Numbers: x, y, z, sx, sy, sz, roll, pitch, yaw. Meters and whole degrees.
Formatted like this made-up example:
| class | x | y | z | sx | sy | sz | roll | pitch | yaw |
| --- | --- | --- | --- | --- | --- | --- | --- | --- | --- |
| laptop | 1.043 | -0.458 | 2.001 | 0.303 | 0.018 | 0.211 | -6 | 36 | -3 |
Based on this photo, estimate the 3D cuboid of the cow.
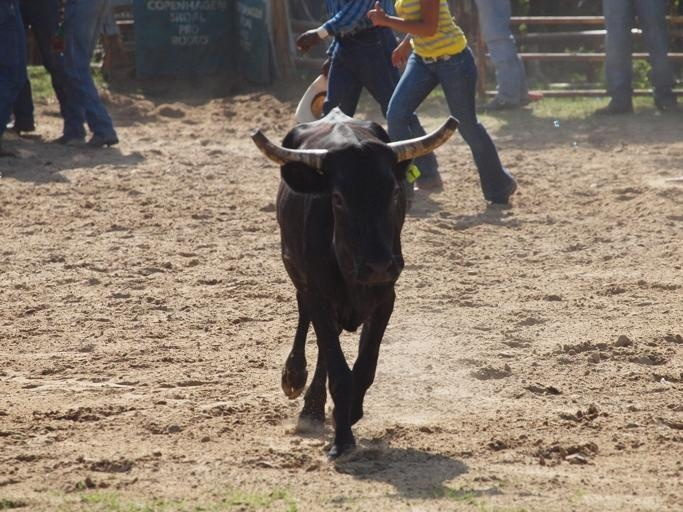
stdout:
| class | x | y | z | sx | sy | sz | roll | pitch | yaw |
| --- | --- | --- | --- | --- | --- | --- | --- | --- | --- |
| cow | 0.020 | 0.195 | 9.705 | 0.949 | 2.342 | 1.221 | -14 | 18 | -39 |

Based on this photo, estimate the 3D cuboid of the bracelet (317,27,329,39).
| class | x | y | z | sx | sy | sz | roll | pitch | yaw |
| --- | --- | --- | --- | --- | --- | --- | --- | --- | --- |
| bracelet | -0.176 | -2.151 | 12.399 | 0.083 | 0.107 | 0.097 | 12 | 50 | 9 |

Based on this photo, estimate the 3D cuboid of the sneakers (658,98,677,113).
| class | x | y | z | sx | sy | sz | roll | pitch | yaw |
| --- | --- | --- | --- | --- | --- | --- | --- | --- | --- |
| sneakers | 4.049 | -1.883 | 16.171 | 0.211 | 0.096 | 0.155 | -1 | 3 | -11 |
